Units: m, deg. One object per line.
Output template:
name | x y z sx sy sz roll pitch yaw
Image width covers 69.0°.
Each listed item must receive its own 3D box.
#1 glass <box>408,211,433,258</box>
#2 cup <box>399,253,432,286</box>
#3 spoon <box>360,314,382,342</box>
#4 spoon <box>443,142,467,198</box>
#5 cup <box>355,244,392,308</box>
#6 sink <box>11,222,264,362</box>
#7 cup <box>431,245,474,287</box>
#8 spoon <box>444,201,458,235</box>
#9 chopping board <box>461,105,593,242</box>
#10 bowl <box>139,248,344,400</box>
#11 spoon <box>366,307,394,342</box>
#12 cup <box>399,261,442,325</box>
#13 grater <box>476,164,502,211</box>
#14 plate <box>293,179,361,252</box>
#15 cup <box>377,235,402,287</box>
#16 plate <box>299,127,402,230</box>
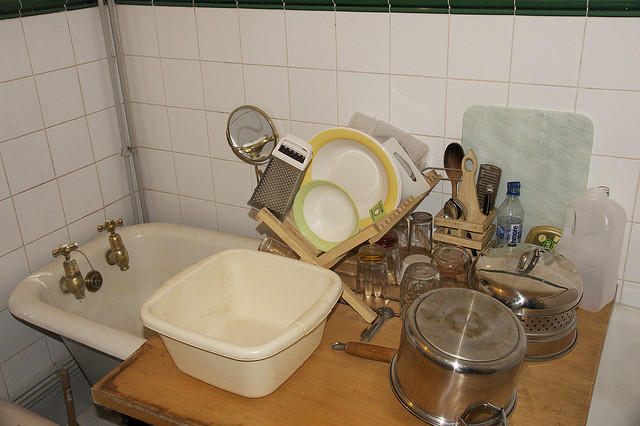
glass | 0.388 0.098 1.889 0.091 0.174 0.094 10 10 -5
cup | 0.353 0.203 1.745 0.095 0.096 0.097 -2 24 1
spoon | 0.186 0.387 1.637 0.023 0.017 0.165 41 51 13
spoon | 0.533 -0.190 1.857 0.065 0.252 0.035 3 1 24
cup | 0.204 0.247 1.770 0.134 0.196 0.136 7 7 -1
sink | -0.994 0.326 2.186 0.827 0.320 0.654 12 28 21
cup | 0.485 0.194 1.725 0.127 0.129 0.129 -2 36 1
spoon | 0.491 0.017 1.757 0.033 0.125 0.016 4 6 41
chopping board | 0.775 -0.209 1.798 0.485 0.411 0.088 22 32 27
bowl | -0.231 0.259 1.464 0.521 0.207 0.477 -5 34 3
spoon | 0.212 0.378 1.650 0.045 0.031 0.168 4 37 38
cup | 0.341 0.262 1.646 0.133 0.206 0.134 5 27 -3
grater | 0.644 -0.107 1.793 0.093 0.186 0.037 14 6 26
plate | 0.015 -0.022 1.691 0.242 0.254 0.060 -24 8 17
cup | 0.294 0.206 1.859 0.110 0.206 0.106 -8 5 1
plate | 0.124 -0.167 1.738 0.358 0.389 0.085 -1 14 25
